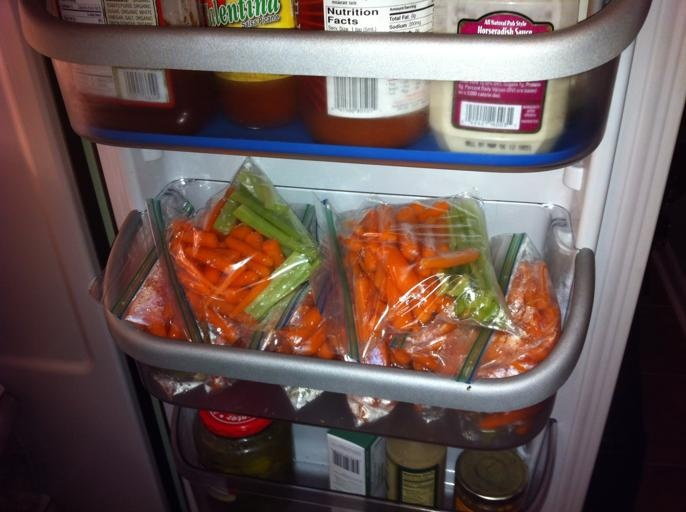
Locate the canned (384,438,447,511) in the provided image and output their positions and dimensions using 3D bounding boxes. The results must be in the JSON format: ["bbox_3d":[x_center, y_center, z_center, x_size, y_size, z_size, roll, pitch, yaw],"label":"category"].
[{"bbox_3d":[0.111,0.336,0.820,0.105,0.126,0.112,0,16,3],"label":"canned"}]
